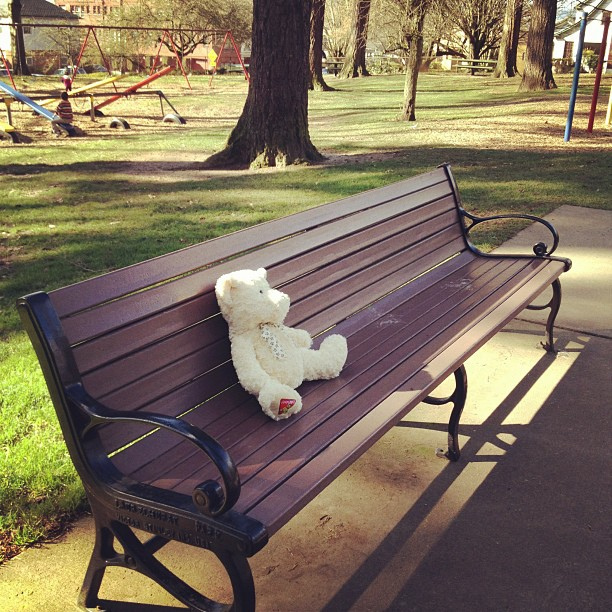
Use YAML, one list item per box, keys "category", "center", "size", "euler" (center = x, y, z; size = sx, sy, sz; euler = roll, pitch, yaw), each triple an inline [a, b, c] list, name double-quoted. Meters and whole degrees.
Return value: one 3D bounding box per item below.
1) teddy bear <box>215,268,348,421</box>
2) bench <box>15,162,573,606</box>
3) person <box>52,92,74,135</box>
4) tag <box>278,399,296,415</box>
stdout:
- category: "teddy bear"
  center: [-0.132, 0.118, 2.245]
  size: [0.477, 0.490, 0.558]
  euler: [14, 26, 25]
- category: "bench"
  center: [0.171, 0.199, 2.596]
  size: [0.913, 1.102, 2.572]
  euler: [16, 26, 30]
- category: "person"
  center: [-6.609, -5.182, 15.470]
  size: [0.512, 1.033, 0.877]
  euler: [-6, 25, -16]
- category: "tag"
  center: [-0.070, 0.351, 2.033]
  size: [0.060, 0.051, 0.008]
  euler: [-23, 37, -28]
